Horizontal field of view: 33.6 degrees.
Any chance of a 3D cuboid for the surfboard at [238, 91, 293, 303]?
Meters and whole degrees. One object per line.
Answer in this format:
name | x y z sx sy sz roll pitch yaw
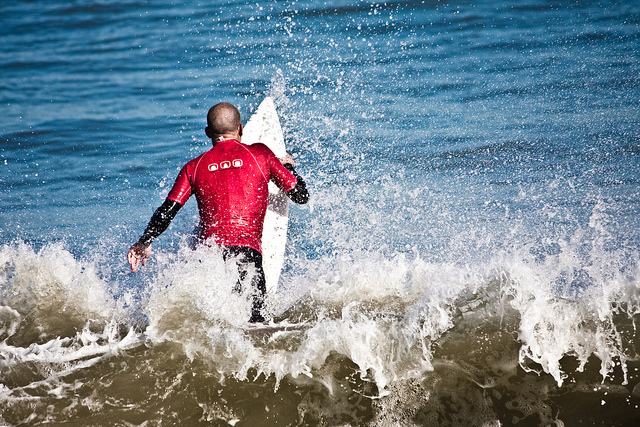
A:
surfboard | -0.716 -0.353 16.392 0.666 3.281 0.312 11 -15 -12
